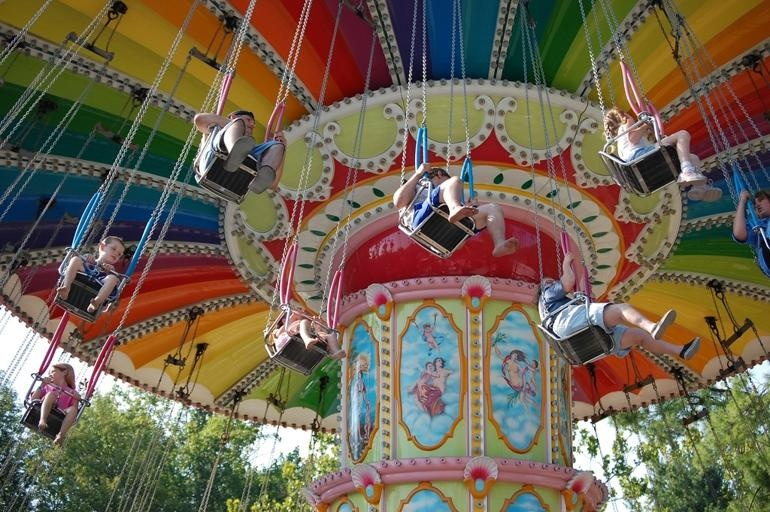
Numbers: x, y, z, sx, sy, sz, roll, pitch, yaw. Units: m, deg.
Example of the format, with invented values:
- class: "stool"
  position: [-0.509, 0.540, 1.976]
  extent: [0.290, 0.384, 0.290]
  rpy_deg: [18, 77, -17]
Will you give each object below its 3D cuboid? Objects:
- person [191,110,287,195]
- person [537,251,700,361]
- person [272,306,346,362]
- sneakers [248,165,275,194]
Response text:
- class: "person"
  position: [-1.593, -1.171, 5.792]
  extent: [0.746, 0.782, 1.348]
  rpy_deg: [35, -1, -19]
- class: "person"
  position: [2.375, 0.699, 5.632]
  extent: [1.705, 1.095, 0.923]
  rpy_deg: [4, -48, 33]
- class: "person"
  position: [-0.911, 0.878, 5.974]
  extent: [0.913, 0.548, 0.591]
  rpy_deg: [0, -31, 3]
- class: "sneakers"
  position: [-1.317, -0.844, 5.620]
  extent: [0.189, 0.147, 0.337]
  rpy_deg: [32, -69, -27]
